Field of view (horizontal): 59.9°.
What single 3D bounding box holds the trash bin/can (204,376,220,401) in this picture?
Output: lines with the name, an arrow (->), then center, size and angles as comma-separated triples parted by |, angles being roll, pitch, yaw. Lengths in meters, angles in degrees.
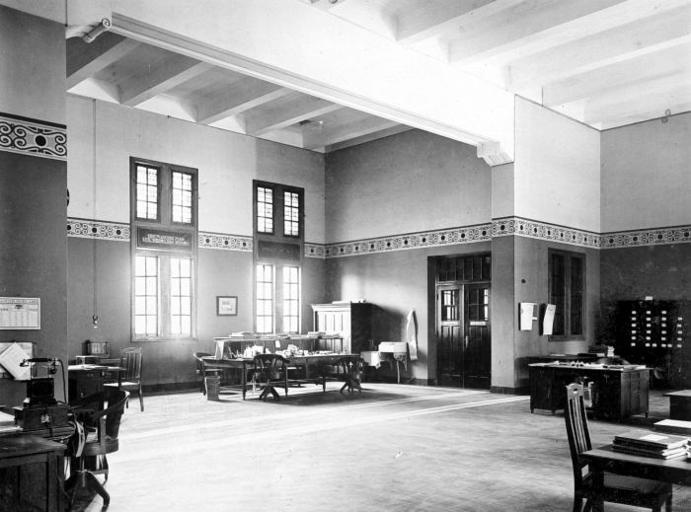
trash bin/can -> -3.047, 3.037, 13.771 | 0.315, 0.501, 0.383 | 0, -3, -8

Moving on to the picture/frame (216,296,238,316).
picture/frame -> -3.239, 1.376, 16.330 | 0.505, 0.461, 0.035 | 6, -11, -44

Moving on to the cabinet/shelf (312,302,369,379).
cabinet/shelf -> 0.185, 2.483, 17.729 | 2.012, 2.718, 1.242 | -7, -10, 43

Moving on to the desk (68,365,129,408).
desk -> -4.393, 2.409, 10.566 | 0.837, 0.807, 0.737 | 3, -11, -33
